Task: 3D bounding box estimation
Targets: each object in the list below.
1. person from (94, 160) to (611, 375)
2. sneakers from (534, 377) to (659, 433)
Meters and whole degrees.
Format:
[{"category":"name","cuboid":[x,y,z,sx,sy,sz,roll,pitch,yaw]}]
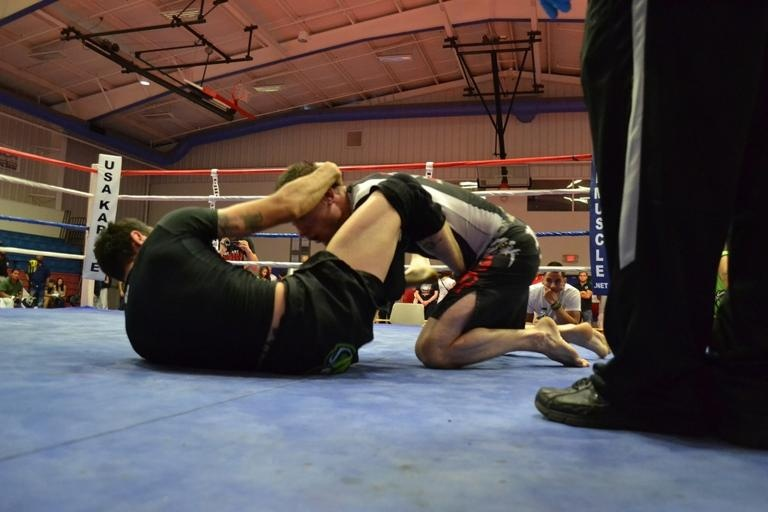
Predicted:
[{"category":"person","cuboid":[-0.222,0.130,2.119,2.439,0.888,0.825,0,-25,-8]},{"category":"sneakers","cuboid":[0.488,0.327,1.154,0.275,0.098,0.103,-5,2,39]}]
